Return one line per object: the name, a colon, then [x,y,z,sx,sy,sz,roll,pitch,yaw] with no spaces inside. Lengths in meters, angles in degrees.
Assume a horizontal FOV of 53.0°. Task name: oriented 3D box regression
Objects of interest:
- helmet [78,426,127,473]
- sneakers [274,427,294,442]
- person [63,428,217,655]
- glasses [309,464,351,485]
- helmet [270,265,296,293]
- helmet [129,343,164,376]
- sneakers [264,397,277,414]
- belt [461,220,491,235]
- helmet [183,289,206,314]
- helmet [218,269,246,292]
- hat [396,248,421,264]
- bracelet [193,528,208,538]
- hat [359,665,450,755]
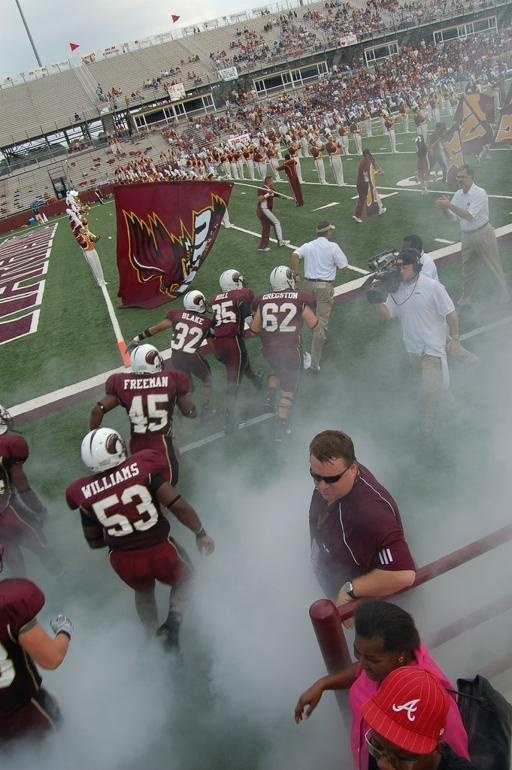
helmet: [-0.861,0.370,2.898,0.220,0.258,0.220,-14,34,-8]
sneakers: [0.260,0.469,5.004,0.121,0.156,0.066,2,7,-12]
person: [-0.577,0.956,3.038,0.581,1.450,0.737,-33,41,-31]
glasses: [0.302,0.389,2.167,0.161,0.100,0.069,7,37,22]
helmet: [0.288,-1.108,5.405,0.231,0.254,0.305,18,35,26]
helmet: [-0.865,-0.229,4.117,0.203,0.218,0.267,16,40,23]
sneakers: [0.140,0.199,5.257,0.070,0.204,0.093,0,-12,6]
belt: [2.639,-1.871,6.147,0.196,0.055,0.189,-29,22,-38]
helmet: [-0.686,-0.928,5.759,0.212,0.285,0.308,-11,33,-3]
helmet: [-0.264,-1.141,5.668,0.256,0.243,0.335,-8,33,0]
hat: [1.263,-1.047,4.213,0.130,0.141,0.178,-9,-3,21]
bracelet: [-0.340,0.921,3.175,0.071,0.082,0.065,-8,41,6]
hat: [0.367,0.788,1.240,0.151,0.106,0.201,29,17,30]
